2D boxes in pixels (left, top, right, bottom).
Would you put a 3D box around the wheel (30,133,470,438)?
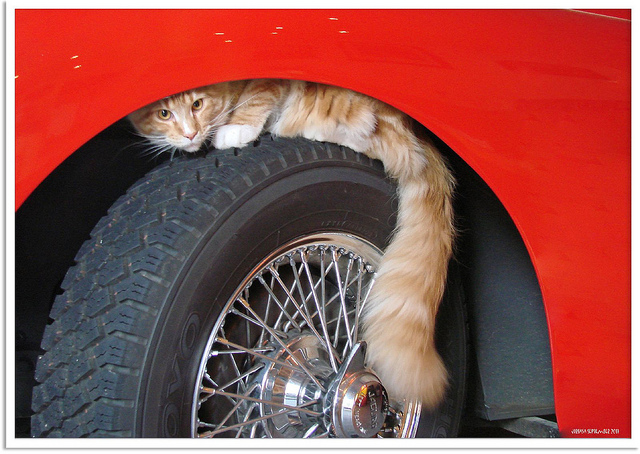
[{"bbox_3d":[-0.054,0.183,1.365,0.816,0.210,0.797,-20,-52,-28],"label":"wheel"}]
